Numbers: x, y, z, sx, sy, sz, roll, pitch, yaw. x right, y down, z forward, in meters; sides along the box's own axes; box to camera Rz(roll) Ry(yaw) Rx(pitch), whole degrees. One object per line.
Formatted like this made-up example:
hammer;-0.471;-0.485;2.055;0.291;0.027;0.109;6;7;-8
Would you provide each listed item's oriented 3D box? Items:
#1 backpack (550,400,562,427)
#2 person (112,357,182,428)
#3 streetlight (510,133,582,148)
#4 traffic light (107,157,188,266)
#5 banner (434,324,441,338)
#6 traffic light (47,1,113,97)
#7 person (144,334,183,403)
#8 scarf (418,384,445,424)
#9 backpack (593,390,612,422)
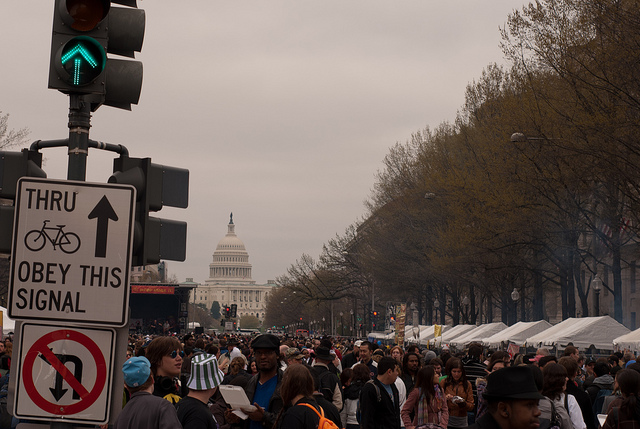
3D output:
backpack;3.457;2.936;14.368;0.112;0.326;0.492;-3;-13;16
person;-2.119;2.179;12.035;0.865;0.766;0.400;-12;2;14
streetlight;7.622;-2.633;32.954;2.224;0.325;0.804;-1;-3;4
traffic light;-2.093;0.021;12.409;1.117;1.406;0.382;11;-16;-39
banner;4.992;4.886;41.108;0.395;0.729;0.409;0;-2;3
traffic light;-2.888;-2.045;11.929;0.699;1.131;0.444;4;-13;-15
person;-2.077;2.057;13.358;0.463;0.819;0.516;0;-15;-10
scarf;1.839;3.152;16.212;0.605;0.792;0.414;2;-8;-8
backpack;4.954;3.324;17.305;0.395;0.625;0.396;9;-10;-39
